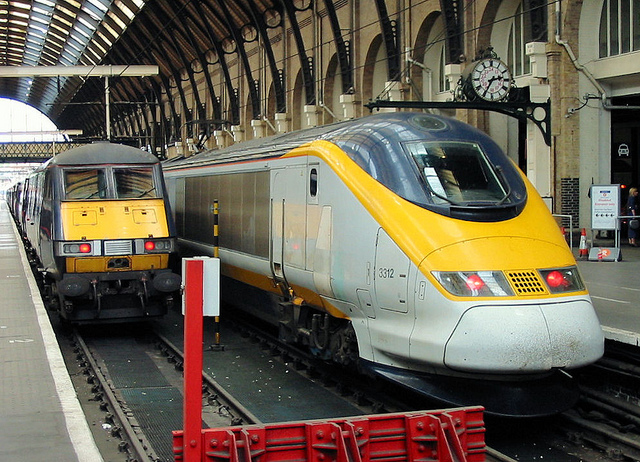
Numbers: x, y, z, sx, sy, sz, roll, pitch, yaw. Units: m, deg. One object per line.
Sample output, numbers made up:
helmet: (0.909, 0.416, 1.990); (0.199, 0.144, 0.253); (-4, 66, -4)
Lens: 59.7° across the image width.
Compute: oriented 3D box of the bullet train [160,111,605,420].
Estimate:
bullet train: (-0.250, 0.270, 12.521); (2.817, 3.861, 14.836); (5, -3, -24)

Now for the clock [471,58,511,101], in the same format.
clock: (5.470, -4.834, 17.990); (1.229, 1.347, 0.137); (-3, 5, -25)

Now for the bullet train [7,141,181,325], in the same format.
bullet train: (-4.147, 0.074, 11.355); (2.339, 3.445, 1.762); (-4, 6, -16)
